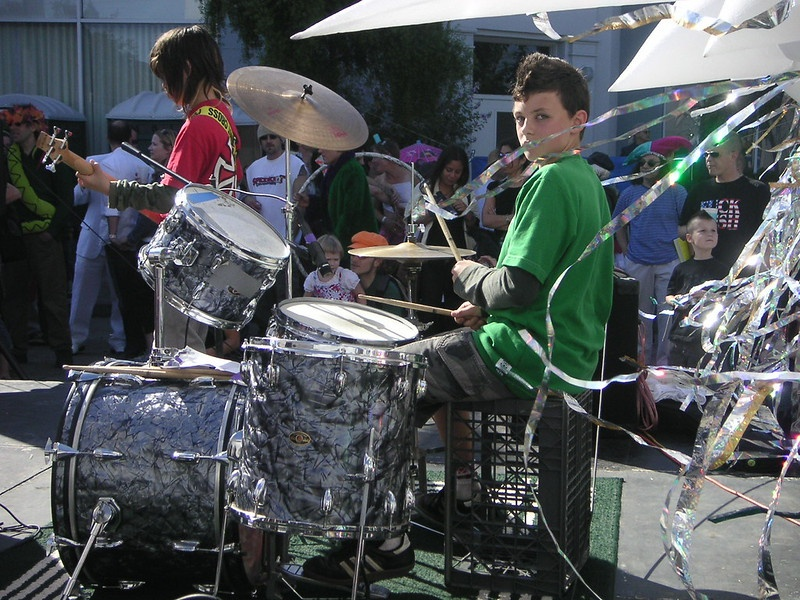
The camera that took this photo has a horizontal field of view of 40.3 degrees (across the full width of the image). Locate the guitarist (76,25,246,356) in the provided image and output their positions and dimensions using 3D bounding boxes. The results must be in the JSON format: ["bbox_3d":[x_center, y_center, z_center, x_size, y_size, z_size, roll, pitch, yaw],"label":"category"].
[{"bbox_3d":[-1.119,-0.407,5.035,0.712,1.841,0.578,11,29,10],"label":"guitarist"}]

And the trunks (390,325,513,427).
[{"bbox_3d":[0.211,0.280,4.206,0.398,0.174,0.378,-5,21,-6],"label":"trunks"}]

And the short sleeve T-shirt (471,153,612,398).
[{"bbox_3d":[0.594,-0.097,4.129,0.536,0.913,0.285,1,6,-27],"label":"short sleeve T-shirt"}]

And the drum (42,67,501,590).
[{"bbox_3d":[-0.984,-0.218,5.963,2.368,2.317,2.320,-1,22,-29],"label":"drum"}]

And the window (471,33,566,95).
[{"bbox_3d":[1.499,-3.155,14.749,1.240,0.963,0.398,4,-6,-7],"label":"window"}]

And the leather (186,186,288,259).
[{"bbox_3d":[-0.606,-0.294,4.176,0.386,0.261,0.439,6,6,30],"label":"leather"}]

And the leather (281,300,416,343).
[{"bbox_3d":[-0.200,0.080,4.014,0.267,0.056,0.261,11,6,13],"label":"leather"}]

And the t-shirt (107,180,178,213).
[{"bbox_3d":[-1.082,-0.427,4.503,0.235,0.075,0.164,1,2,21],"label":"t-shirt"}]

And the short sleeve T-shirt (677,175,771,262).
[{"bbox_3d":[1.817,-0.453,6.039,0.217,0.498,0.634,16,-3,-34],"label":"short sleeve T-shirt"}]
